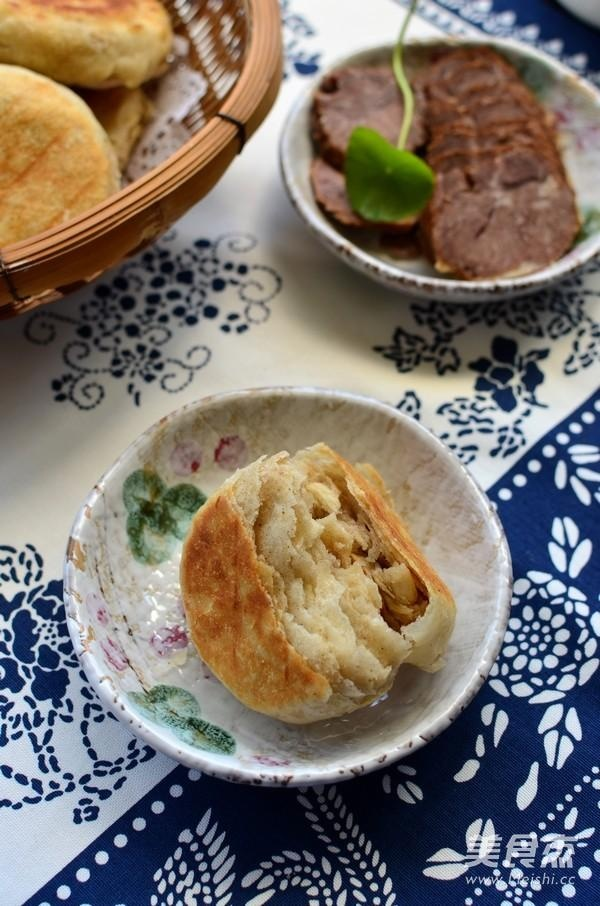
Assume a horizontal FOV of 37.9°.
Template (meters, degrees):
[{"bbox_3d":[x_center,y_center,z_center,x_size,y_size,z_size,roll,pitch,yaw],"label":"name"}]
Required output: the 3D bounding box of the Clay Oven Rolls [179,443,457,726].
[{"bbox_3d":[0.016,0.083,0.645,0.235,0.092,0.209,13,84,15],"label":"Clay Oven Rolls"}]
